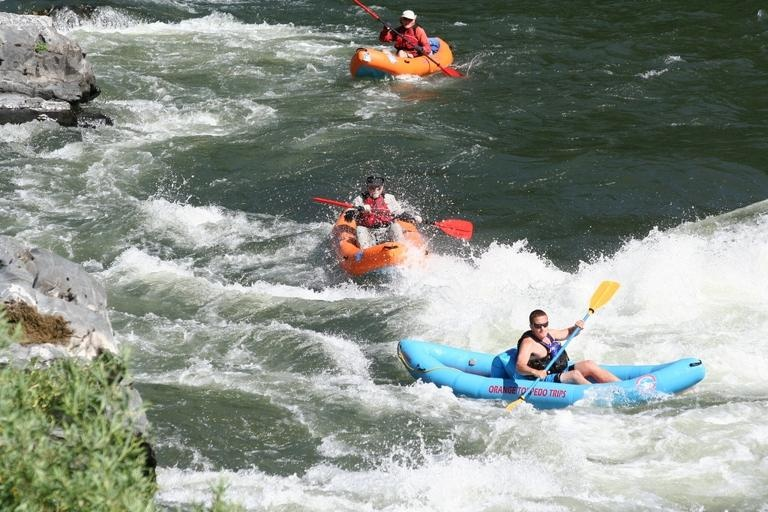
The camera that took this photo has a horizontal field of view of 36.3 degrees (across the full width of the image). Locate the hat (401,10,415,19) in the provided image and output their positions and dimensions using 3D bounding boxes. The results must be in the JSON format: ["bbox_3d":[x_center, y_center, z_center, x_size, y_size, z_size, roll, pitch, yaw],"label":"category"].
[{"bbox_3d":[0.604,-5.740,28.052,0.401,0.153,0.501,0,10,6],"label":"hat"}]

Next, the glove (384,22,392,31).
[{"bbox_3d":[0.074,-5.527,28.243,0.193,0.126,0.579,3,17,-13],"label":"glove"}]

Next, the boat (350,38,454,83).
[{"bbox_3d":[0.507,-4.591,27.662,2.032,0.581,0.998,-6,25,-44],"label":"boat"}]

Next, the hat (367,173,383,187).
[{"bbox_3d":[-0.154,-1.468,22.905,0.297,0.140,0.279,9,22,19],"label":"hat"}]

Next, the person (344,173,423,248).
[{"bbox_3d":[-0.013,-0.625,22.500,1.546,0.905,2.210,-8,42,0],"label":"person"}]
